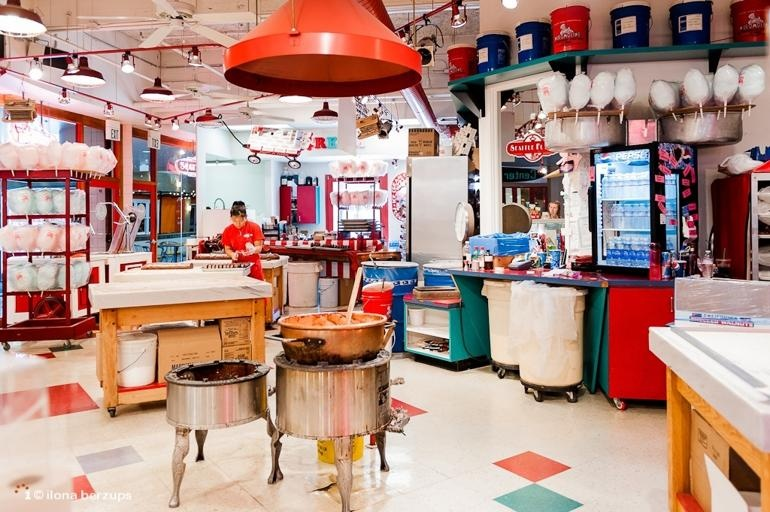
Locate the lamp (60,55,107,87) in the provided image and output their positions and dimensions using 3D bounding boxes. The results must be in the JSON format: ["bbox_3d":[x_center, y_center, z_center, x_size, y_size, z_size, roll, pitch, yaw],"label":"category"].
[{"bbox_3d":[-4.225,-2.527,8.314,0.657,0.347,0.629,1,5,-1],"label":"lamp"}]

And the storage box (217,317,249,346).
[{"bbox_3d":[-1.475,0.725,5.733,0.278,0.244,0.266,0,-4,-11],"label":"storage box"}]

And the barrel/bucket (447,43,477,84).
[{"bbox_3d":[0.985,-2.488,7.694,0.449,0.393,0.429,-2,4,0],"label":"barrel/bucket"}]

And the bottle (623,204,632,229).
[{"bbox_3d":[2.539,-0.419,6.129,0.032,0.243,0.127,-9,15,-32],"label":"bottle"}]

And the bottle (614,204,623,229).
[{"bbox_3d":[2.471,-0.421,6.198,0.030,0.249,0.097,-11,16,-37],"label":"bottle"}]

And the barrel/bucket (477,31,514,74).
[{"bbox_3d":[1.321,-2.448,7.318,0.466,0.391,0.475,0,1,0],"label":"barrel/bucket"}]

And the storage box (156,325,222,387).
[{"bbox_3d":[-1.915,0.862,5.726,0.754,0.512,0.520,0,-6,-27],"label":"storage box"}]

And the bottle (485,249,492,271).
[{"bbox_3d":[1.160,0.046,6.609,0.094,0.189,0.172,1,13,8],"label":"bottle"}]

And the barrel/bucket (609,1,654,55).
[{"bbox_3d":[2.647,-2.447,6.442,0.498,0.443,0.461,-1,2,0],"label":"barrel/bucket"}]

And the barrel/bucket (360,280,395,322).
[{"bbox_3d":[-0.064,0.566,7.353,0.523,0.581,0.435,-4,-9,32],"label":"barrel/bucket"}]

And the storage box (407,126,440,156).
[{"bbox_3d":[0.588,-1.820,9.478,0.450,0.409,0.420,-1,12,-1],"label":"storage box"}]

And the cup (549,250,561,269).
[{"bbox_3d":[1.957,0.030,6.762,0.132,0.160,0.254,3,13,15],"label":"cup"}]

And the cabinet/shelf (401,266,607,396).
[{"bbox_3d":[1.318,0.732,6.578,2.565,1.337,0.584,9,16,36],"label":"cabinet/shelf"}]

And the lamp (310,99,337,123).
[{"bbox_3d":[-1.183,-2.647,11.066,0.538,0.356,0.533,5,8,29],"label":"lamp"}]

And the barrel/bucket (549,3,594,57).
[{"bbox_3d":[2.018,-2.468,6.555,0.498,0.391,0.470,-2,1,0],"label":"barrel/bucket"}]

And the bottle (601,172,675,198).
[{"bbox_3d":[2.487,-0.706,6.081,0.480,0.269,0.080,8,16,35],"label":"bottle"}]

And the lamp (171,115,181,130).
[{"bbox_3d":[-5.017,-3.165,14.007,0.121,0.257,1.312,-4,12,-16],"label":"lamp"}]

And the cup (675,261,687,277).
[{"bbox_3d":[2.829,0.122,5.638,0.150,0.150,0.147,-2,1,0],"label":"cup"}]

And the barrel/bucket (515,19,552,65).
[{"bbox_3d":[1.709,-2.425,6.900,0.446,0.421,0.452,-2,0,0],"label":"barrel/bucket"}]

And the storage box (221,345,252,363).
[{"bbox_3d":[-1.460,0.940,5.736,0.300,0.148,0.192,2,-4,-25],"label":"storage box"}]

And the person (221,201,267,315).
[{"bbox_3d":[-1.901,-0.163,7.847,0.549,1.107,0.908,-3,13,-13],"label":"person"}]

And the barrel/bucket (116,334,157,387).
[{"bbox_3d":[-2.343,0.983,5.682,0.470,0.459,0.454,1,-1,0],"label":"barrel/bucket"}]

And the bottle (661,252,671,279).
[{"bbox_3d":[2.690,0.088,5.609,0.089,0.240,0.144,5,14,23],"label":"bottle"}]
